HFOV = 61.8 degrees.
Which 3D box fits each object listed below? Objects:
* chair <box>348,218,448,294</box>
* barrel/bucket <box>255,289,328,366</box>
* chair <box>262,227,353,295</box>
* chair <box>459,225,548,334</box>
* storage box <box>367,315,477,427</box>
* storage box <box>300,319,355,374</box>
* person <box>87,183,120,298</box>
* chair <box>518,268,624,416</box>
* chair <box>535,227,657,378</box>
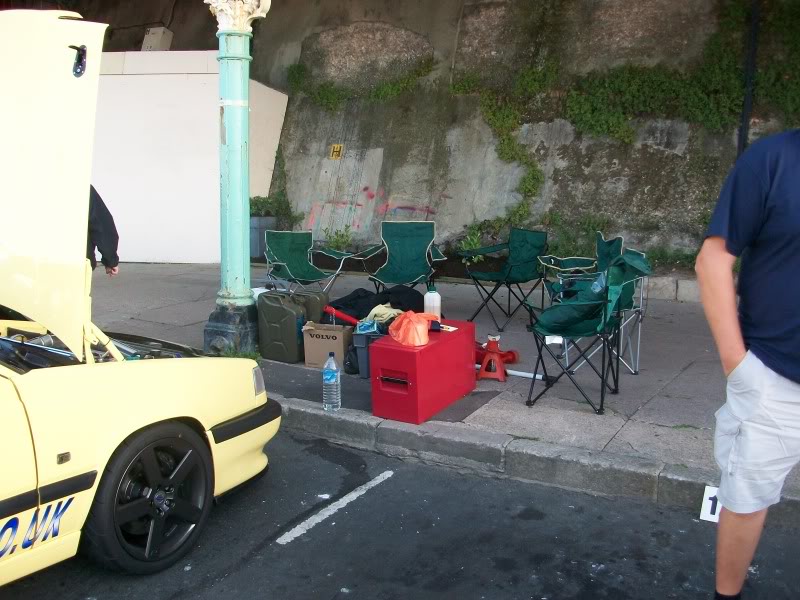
[{"bbox_3d":[0.082,-0.608,8.861,1.295,1.352,0.913,-1,11,10],"label":"chair"},{"bbox_3d":[-1.245,0.269,7.416,0.889,0.955,0.668,1,1,40],"label":"barrel/bucket"},{"bbox_3d":[-1.276,-0.479,8.705,0.983,0.837,0.792,-5,11,-36],"label":"chair"},{"bbox_3d":[1.375,-0.246,8.516,0.815,1.243,1.081,-4,12,-21],"label":"chair"},{"bbox_3d":[0.233,0.589,5.788,0.486,0.635,0.970,4,11,35],"label":"storage box"},{"bbox_3d":[-0.741,0.456,6.968,0.462,0.463,0.278,2,15,17],"label":"storage box"},{"bbox_3d":[-2.940,-0.687,6.612,0.292,0.892,0.257,-8,-23,-8],"label":"person"},{"bbox_3d":[1.532,0.327,5.869,0.757,1.171,0.967,5,10,32],"label":"chair"},{"bbox_3d":[1.695,0.191,6.343,0.992,1.320,1.117,3,-2,17],"label":"chair"}]
